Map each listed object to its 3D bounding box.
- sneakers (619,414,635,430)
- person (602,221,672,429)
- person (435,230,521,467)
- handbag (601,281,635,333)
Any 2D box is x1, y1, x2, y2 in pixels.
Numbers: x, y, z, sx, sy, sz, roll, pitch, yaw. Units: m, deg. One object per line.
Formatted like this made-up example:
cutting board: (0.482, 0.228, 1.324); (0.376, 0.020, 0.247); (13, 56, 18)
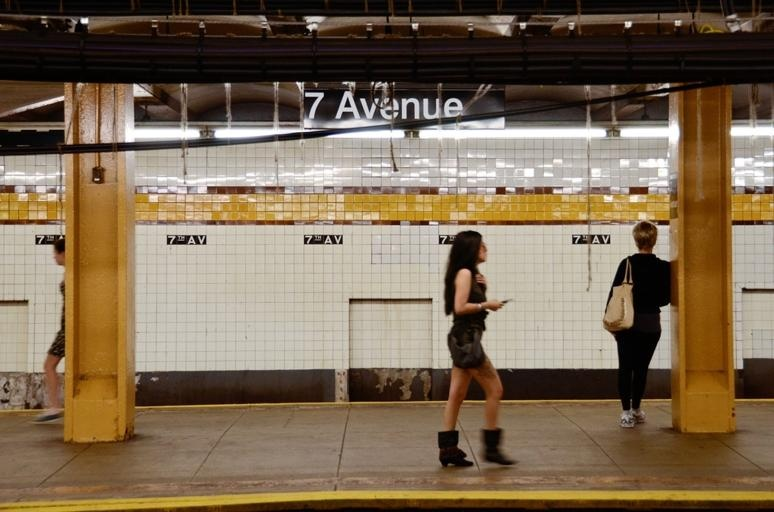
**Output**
sneakers: (3.107, 2.148, 13.872); (0.165, 0.161, 0.203); (0, -13, 5)
person: (3.245, 0.886, 13.868); (0.885, 2.660, 0.527); (-8, 9, -34)
person: (0.972, 1.109, 12.715); (0.887, 2.808, 0.490); (-3, 7, 1)
handbag: (2.957, 0.675, 13.707); (0.379, 0.672, 0.265); (-2, 7, 10)
